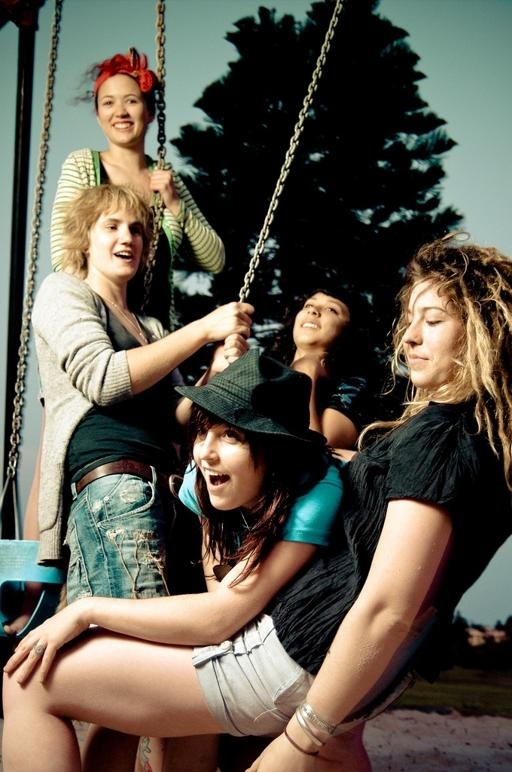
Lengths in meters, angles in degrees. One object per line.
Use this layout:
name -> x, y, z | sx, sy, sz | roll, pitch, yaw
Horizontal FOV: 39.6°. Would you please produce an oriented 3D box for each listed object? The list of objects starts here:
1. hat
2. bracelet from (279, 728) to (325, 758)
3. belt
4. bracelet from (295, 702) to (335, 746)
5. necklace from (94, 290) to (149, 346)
hat -> 0.014, 0.006, 1.621 | 0.399, 0.142, 0.362 | 24, 2, 30
bracelet -> 0.089, 0.682, 1.383 | 0.060, 0.016, 0.054 | 33, -13, 28
belt -> -0.344, 0.232, 1.830 | 0.163, 0.138, 0.037 | 8, 53, -20
bracelet -> 0.108, 0.636, 1.336 | 0.063, 0.045, 0.085 | 51, 1, 31
necklace -> -0.393, -0.196, 2.185 | 0.200, 0.052, 0.117 | 46, -17, -5
